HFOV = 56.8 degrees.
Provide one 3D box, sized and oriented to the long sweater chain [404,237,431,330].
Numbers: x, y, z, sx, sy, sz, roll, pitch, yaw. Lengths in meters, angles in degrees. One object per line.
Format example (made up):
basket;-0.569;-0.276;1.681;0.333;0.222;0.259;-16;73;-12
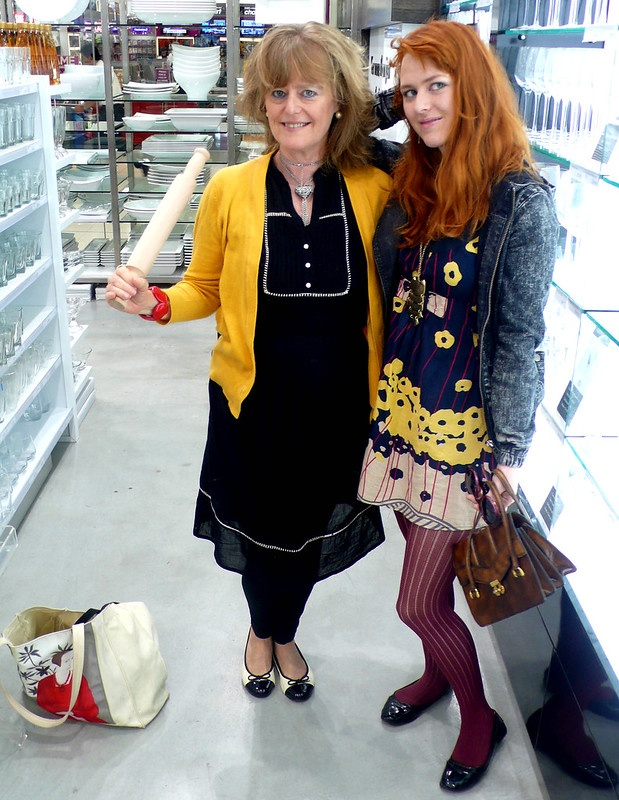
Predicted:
long sweater chain;0.184;-0.199;0.957;0.011;0.137;0.038;-7;21;-25

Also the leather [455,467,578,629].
leather;0.322;0.237;0.948;0.121;0.181;0.225;-6;63;-35

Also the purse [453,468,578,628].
purse;0.325;0.240;0.950;0.127;0.179;0.229;-8;64;-30

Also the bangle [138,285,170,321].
bangle;-0.324;-0.204;1.201;0.032;0.069;0.059;18;34;36

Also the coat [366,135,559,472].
coat;0.239;-0.159;0.970;0.338;0.433;0.223;13;28;24

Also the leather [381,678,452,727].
leather;0.293;0.794;1.534;0.209;0.066;0.073;-24;23;-22

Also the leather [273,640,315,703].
leather;-0.042;0.761;1.622;0.094;0.059;0.240;-4;12;-13

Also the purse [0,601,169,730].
purse;-0.522;0.638;1.440;0.377;0.275;0.284;1;21;2

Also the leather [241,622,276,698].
leather;-0.144;0.752;1.640;0.085;0.063;0.251;3;13;-6

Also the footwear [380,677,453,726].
footwear;0.291;0.791;1.535;0.208;0.067;0.073;-24;23;-24
